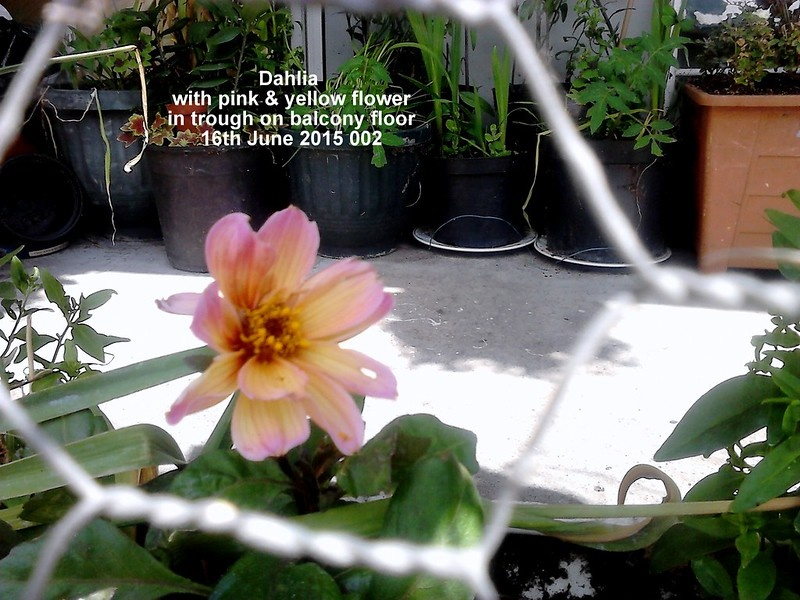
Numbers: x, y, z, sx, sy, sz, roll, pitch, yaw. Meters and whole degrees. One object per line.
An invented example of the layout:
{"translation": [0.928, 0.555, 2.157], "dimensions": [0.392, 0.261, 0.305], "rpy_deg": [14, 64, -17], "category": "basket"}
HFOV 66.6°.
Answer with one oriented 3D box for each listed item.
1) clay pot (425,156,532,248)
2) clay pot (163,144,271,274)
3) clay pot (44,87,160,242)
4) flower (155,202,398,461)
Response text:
{"translation": [0.326, -0.423, 2.575], "dimensions": [0.374, 0.306, 0.406], "rpy_deg": [-1, 17, 0], "category": "clay pot"}
{"translation": [-0.771, -0.416, 2.633], "dimensions": [0.565, 0.499, 0.622], "rpy_deg": [2, 10, 9], "category": "clay pot"}
{"translation": [-1.231, -0.551, 2.575], "dimensions": [0.546, 0.662, 0.263], "rpy_deg": [7, 26, 12], "category": "clay pot"}
{"translation": [-0.087, 0.018, 0.469], "dimensions": [0.159, 0.158, 0.138], "rpy_deg": [-2, 26, -7], "category": "flower"}
